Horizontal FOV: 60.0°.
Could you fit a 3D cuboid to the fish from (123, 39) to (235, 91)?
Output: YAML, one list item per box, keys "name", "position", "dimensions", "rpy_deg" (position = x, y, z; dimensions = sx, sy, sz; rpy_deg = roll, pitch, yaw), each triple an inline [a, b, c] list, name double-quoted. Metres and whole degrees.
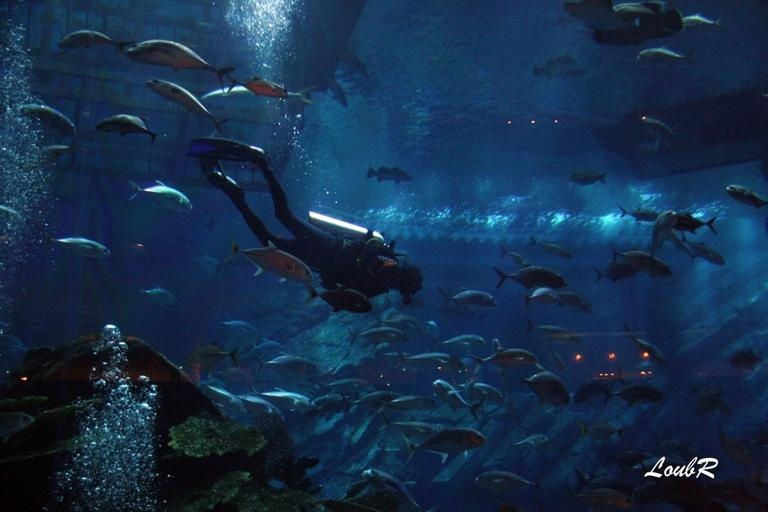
- name: "fish"
  position: [-6.688, -6.392, 21.684]
  dimensions: [3.425, 0.835, 0.934]
  rpy_deg: [10, -14, -10]

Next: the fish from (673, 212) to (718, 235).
- name: "fish"
  position: [10.200, -1.103, 21.800]
  dimensions: [1.178, 0.652, 0.606]
  rpy_deg: [2, -3, -18]

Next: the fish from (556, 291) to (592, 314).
- name: "fish"
  position: [7.051, 1.667, 24.420]
  dimensions: [0.880, 0.719, 1.495]
  rpy_deg: [0, -3, 32]

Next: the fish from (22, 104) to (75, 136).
- name: "fish"
  position: [-11.358, -4.698, 22.659]
  dimensions: [1.488, 0.363, 1.119]
  rpy_deg: [28, 10, 15]
